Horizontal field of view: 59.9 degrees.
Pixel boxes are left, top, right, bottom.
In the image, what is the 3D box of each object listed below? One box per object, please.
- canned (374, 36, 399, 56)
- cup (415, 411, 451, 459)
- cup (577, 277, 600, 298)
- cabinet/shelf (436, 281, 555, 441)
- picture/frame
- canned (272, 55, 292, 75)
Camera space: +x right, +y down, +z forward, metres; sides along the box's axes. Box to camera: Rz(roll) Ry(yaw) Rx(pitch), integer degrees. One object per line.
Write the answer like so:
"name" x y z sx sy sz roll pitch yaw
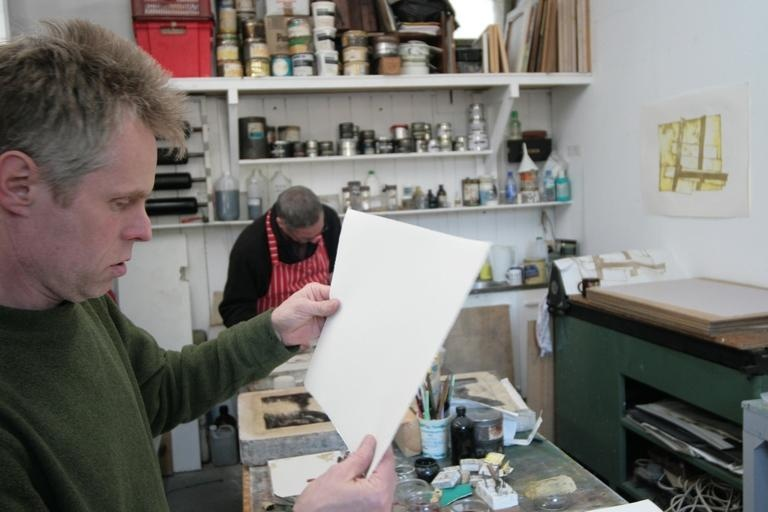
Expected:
"canned" 0.017 -1.354 4.307 0.136 0.086 0.137 -1 1 -10
"cup" 0.188 0.666 2.464 0.136 0.156 0.140 -1 -4 0
"cup" 1.119 0.174 3.676 0.119 0.107 0.076 -3 2 7
"cabinet/shelf" 0.785 0.552 4.295 0.789 1.221 0.236 -1 1 -8
"picture/frame" 1.764 -0.561 3.767 0.078 0.674 0.715 -6 10 -19
"canned" -0.647 -1.196 4.219 0.121 0.116 0.121 -1 2 -6
